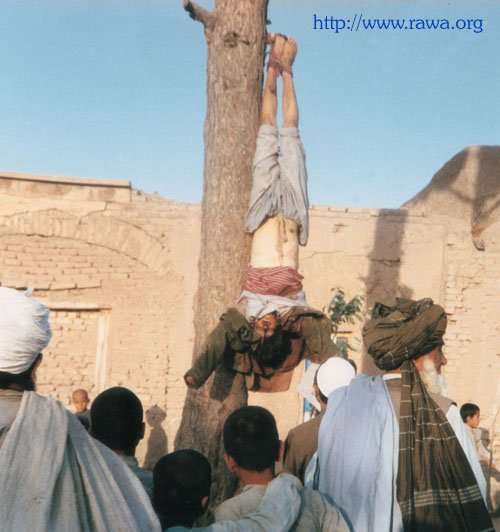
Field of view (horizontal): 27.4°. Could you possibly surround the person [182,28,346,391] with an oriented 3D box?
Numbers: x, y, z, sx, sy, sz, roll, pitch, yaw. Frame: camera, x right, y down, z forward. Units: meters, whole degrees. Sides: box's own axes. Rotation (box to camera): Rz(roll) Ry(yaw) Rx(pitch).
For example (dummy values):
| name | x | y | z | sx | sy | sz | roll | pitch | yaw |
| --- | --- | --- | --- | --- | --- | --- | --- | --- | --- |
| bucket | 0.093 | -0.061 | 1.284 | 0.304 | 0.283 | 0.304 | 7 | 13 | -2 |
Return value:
| name | x | y | z | sx | sy | sz | roll | pitch | yaw |
| --- | --- | --- | --- | --- | --- | --- | --- | --- | --- |
| person | 0.158 | -0.357 | 6.326 | 0.876 | 2.318 | 0.529 | 5 | -7 | -5 |
